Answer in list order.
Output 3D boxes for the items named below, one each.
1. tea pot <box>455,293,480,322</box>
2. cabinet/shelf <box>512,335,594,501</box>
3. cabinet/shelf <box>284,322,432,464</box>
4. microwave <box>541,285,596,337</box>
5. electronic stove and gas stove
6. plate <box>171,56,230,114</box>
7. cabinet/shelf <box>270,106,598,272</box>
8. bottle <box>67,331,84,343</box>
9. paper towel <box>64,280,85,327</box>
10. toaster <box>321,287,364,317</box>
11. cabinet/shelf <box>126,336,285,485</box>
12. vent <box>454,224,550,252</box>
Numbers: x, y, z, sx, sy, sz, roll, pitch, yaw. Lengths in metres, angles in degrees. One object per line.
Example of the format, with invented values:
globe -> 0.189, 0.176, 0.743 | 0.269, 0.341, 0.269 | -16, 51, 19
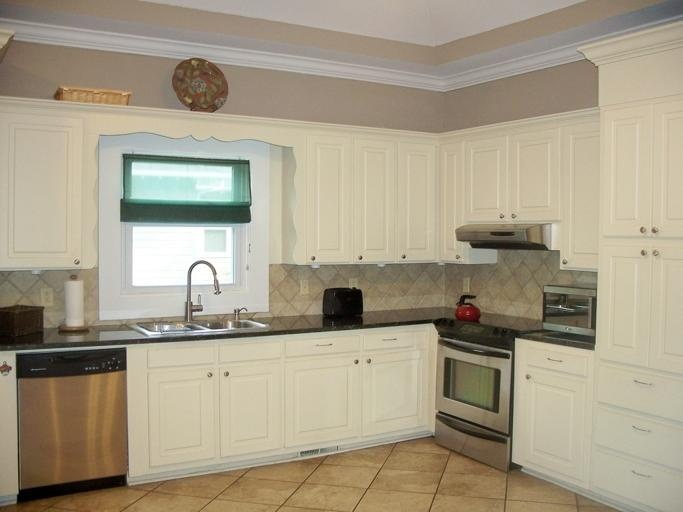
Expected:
tea pot -> 1.177, 0.490, 5.161 | 0.251, 0.216, 0.247 | 1, -3, 0
cabinet/shelf -> 1.896, 1.253, 4.466 | 0.786, 1.080, 0.790 | 4, -2, -15
cabinet/shelf -> 0.032, 1.176, 5.043 | 1.539, 1.007, 0.550 | 3, -5, -30
microwave -> 2.001, 0.446, 4.526 | 0.349, 0.375, 0.563 | -1, 3, -32
electronic stove and gas stove -> 1.410, 0.647, 5.010 | 0.891, 0.177, 0.935 | -9, 8, -33
plate -> -1.199, -1.449, 4.660 | 0.501, 0.444, 0.139 | -3, 5, -25
cabinet/shelf -> 0.919, -0.571, 4.997 | 2.551, 1.333, 0.957 | 2, 8, 14
bottle -> -2.023, 0.617, 4.155 | 0.098, 0.097, 0.092 | 0, 1, -26
paper towel -> -2.170, 0.375, 4.435 | 0.146, 0.372, 0.241 | -3, 8, -25
toaster -> 0.003, 0.439, 5.223 | 0.411, 0.269, 0.275 | 1, -2, -31
cabinet/shelf -> -1.138, 1.213, 4.331 | 1.308, 0.950, 0.478 | 0, -1, -26
vent -> 1.414, -0.166, 4.877 | 0.315, 0.287, 0.856 | -4, 8, -30
